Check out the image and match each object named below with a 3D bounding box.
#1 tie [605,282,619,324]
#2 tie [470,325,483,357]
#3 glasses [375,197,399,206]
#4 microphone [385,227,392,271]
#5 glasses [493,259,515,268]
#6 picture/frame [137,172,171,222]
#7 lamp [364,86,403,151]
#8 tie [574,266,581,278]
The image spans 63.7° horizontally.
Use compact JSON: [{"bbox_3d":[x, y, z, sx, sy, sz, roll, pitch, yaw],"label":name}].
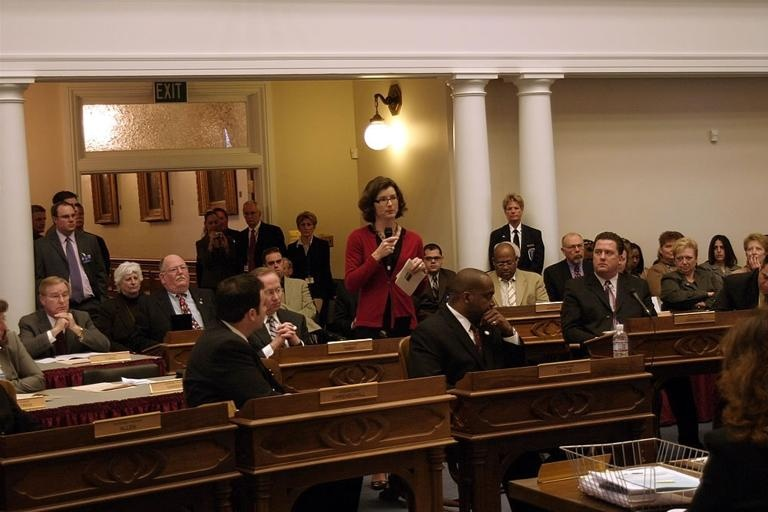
[{"bbox_3d":[1.928,0.376,5.191,0.060,0.398,0.048,-3,-27,-3],"label":"tie"},{"bbox_3d":[0.567,0.497,3.729,0.042,0.147,0.106,-6,-5,21],"label":"tie"},{"bbox_3d":[0.020,-0.387,4.347,0.153,0.052,0.079,-4,8,-12],"label":"glasses"},{"bbox_3d":[0.041,-0.061,4.431,0.059,0.284,0.085,0,8,18],"label":"microphone"},{"bbox_3d":[1.216,0.075,6.175,0.210,0.081,0.143,-1,8,15],"label":"glasses"},{"bbox_3d":[-4.849,-1.233,12.985,0.924,1.610,0.172,-6,-6,31],"label":"picture/frame"},{"bbox_3d":[-0.050,-2.097,9.381,0.516,0.970,0.811,-5,8,-13],"label":"lamp"},{"bbox_3d":[2.127,0.177,6.739,0.072,0.097,0.025,-2,-21,6],"label":"tie"}]
